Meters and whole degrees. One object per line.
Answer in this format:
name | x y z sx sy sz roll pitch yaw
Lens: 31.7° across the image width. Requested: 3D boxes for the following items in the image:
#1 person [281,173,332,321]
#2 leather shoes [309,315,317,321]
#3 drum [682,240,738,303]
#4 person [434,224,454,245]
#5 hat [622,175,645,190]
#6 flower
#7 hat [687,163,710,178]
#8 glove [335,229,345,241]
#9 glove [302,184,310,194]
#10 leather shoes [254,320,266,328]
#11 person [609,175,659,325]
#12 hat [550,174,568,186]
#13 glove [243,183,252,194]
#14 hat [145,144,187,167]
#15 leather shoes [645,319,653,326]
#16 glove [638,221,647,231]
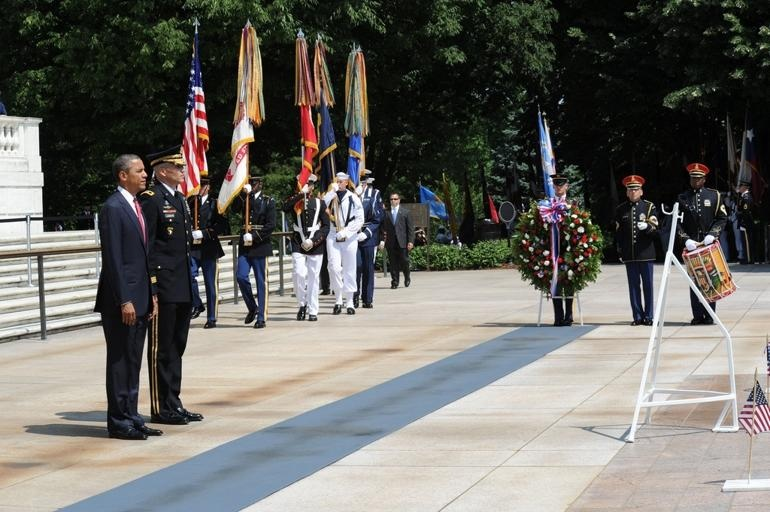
person | -1.499 -0.145 26.588 0.839 2.915 0.848 -3 15 -4
leather shoes | -1.411 1.202 26.596 0.133 0.069 0.092 0 3 -4
drum | 4.587 0.226 19.260 0.694 0.714 0.625 -21 4 -7
person | 2.390 -0.907 55.292 0.651 0.814 0.945 -3 -5 12
hat | 4.601 -1.428 25.190 0.358 0.161 0.348 0 -7 7
flower | 3.161 -0.193 24.779 1.847 1.649 0.871 1 3 10
hat | 5.836 -1.645 25.274 0.405 0.184 0.394 0 -19 14
glove | -0.896 -0.426 27.302 0.183 0.252 0.259 -2 14 -1
glove | -1.523 -1.346 26.547 0.146 0.173 0.057 27 0 31
leather shoes | -2.387 1.277 25.851 0.220 0.142 0.220 -3 13 -7
person | 4.706 -0.148 25.165 0.743 2.699 1.092 -2 15 0
hat | 3.212 -1.434 24.940 0.261 0.207 0.433 0 13 7
glove | -2.642 -1.322 26.093 0.141 0.194 0.250 -1 13 3
hat | -3.199 -1.478 19.669 0.460 0.192 0.368 0 10 17
leather shoes | 4.877 1.218 25.058 0.192 0.106 0.166 0 -4 -1
glove | 4.732 -0.567 24.912 0.178 0.157 0.159 0 14 5
